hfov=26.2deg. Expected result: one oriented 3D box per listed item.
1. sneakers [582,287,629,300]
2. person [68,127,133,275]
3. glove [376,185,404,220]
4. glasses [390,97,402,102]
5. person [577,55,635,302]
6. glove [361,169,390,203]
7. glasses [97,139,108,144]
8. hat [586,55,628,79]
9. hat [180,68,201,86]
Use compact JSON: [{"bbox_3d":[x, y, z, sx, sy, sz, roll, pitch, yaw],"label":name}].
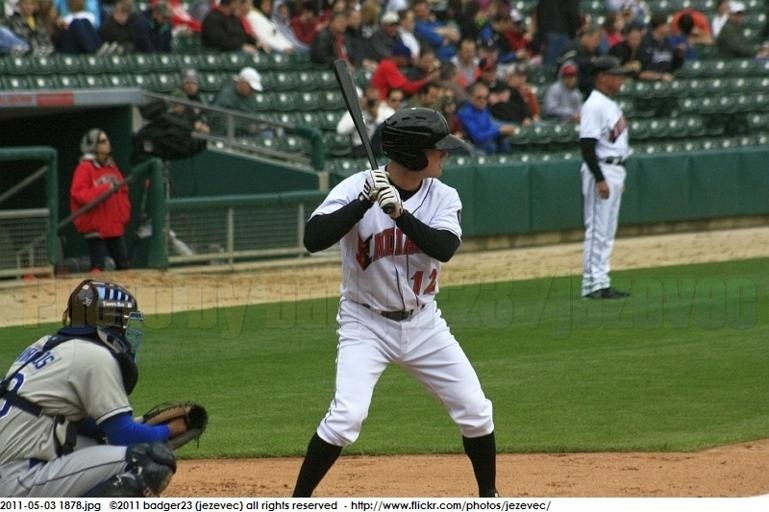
[{"bbox_3d":[2.333,0.412,17.490,0.505,0.164,0.170,2,-2,-15],"label":"sneakers"},{"bbox_3d":[-3.141,-0.602,18.235,0.666,1.535,0.386,-5,7,-22],"label":"person"},{"bbox_3d":[0.050,-0.433,13.418,0.120,0.260,0.190,-32,13,32],"label":"glove"},{"bbox_3d":[0.142,-1.862,19.908,0.085,0.054,0.077,0,4,-6],"label":"glasses"},{"bbox_3d":[2.291,-0.794,17.231,0.532,2.508,0.401,-2,7,6],"label":"person"},{"bbox_3d":[-0.082,-0.572,13.495,0.203,0.251,0.119,10,-31,-11],"label":"glove"},{"bbox_3d":[-3.091,-1.229,18.046,0.115,0.042,0.025,-6,7,-35],"label":"glasses"},{"bbox_3d":[2.296,-1.902,17.016,0.384,0.126,0.255,2,23,1],"label":"hat"},{"bbox_3d":[-2.291,-2.086,19.370,0.176,0.140,0.199,-1,1,-13],"label":"hat"}]
